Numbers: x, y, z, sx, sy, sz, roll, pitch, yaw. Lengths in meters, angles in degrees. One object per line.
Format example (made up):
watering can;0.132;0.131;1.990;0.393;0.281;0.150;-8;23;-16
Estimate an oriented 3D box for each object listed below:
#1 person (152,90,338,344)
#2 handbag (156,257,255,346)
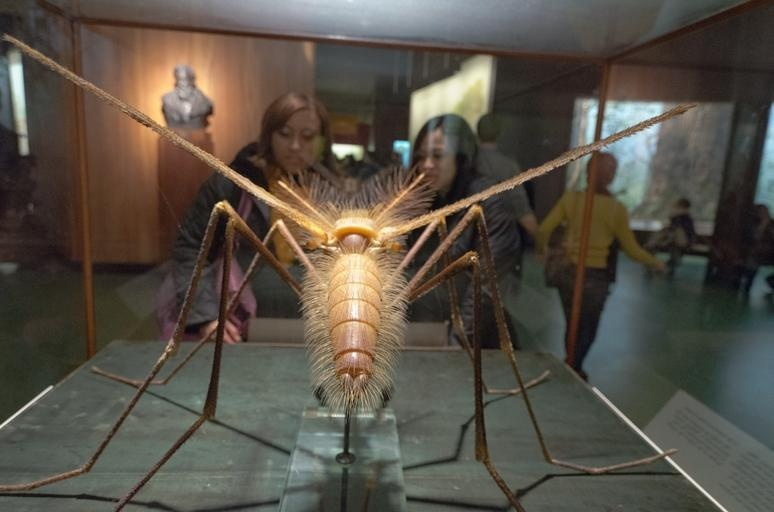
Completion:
person;-0.623;-0.146;2.795;0.494;0.809;0.921;13;-33;-27
handbag;-0.844;0.210;2.784;0.332;0.406;0.152;4;-4;0
